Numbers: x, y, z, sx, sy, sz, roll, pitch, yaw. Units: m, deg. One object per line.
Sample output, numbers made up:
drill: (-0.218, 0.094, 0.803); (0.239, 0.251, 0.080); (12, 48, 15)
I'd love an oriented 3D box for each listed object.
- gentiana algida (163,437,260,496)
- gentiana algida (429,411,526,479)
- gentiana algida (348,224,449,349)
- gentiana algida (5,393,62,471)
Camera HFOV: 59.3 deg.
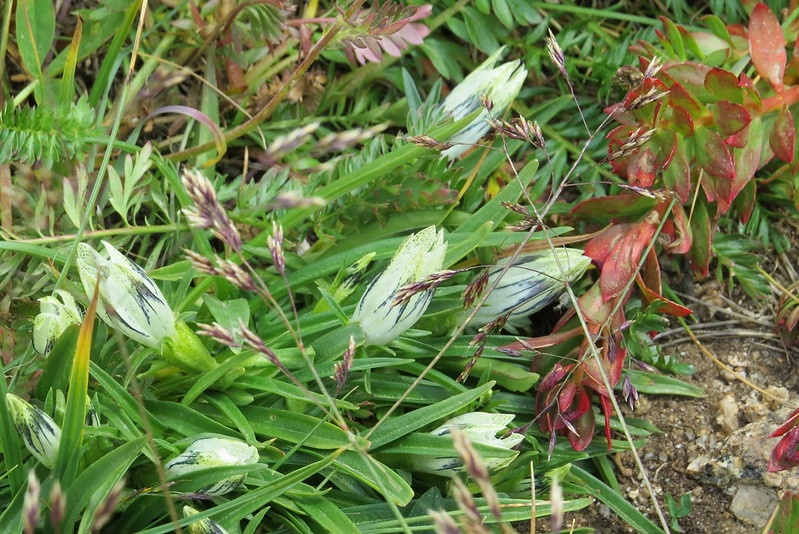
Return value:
gentiana algida: (-0.324, 0.341, 1.235); (0.143, 0.068, 0.100); (-11, 84, 2)
gentiana algida: (0.153, 0.325, 1.368); (0.209, 0.089, 0.146); (1, 41, 3)
gentiana algida: (-0.005, 0.042, 1.323); (0.130, 0.250, 0.097); (-1, 53, -22)
gentiana algida: (-0.614, 0.275, 1.186); (0.125, 0.107, 0.043); (35, 49, 4)
